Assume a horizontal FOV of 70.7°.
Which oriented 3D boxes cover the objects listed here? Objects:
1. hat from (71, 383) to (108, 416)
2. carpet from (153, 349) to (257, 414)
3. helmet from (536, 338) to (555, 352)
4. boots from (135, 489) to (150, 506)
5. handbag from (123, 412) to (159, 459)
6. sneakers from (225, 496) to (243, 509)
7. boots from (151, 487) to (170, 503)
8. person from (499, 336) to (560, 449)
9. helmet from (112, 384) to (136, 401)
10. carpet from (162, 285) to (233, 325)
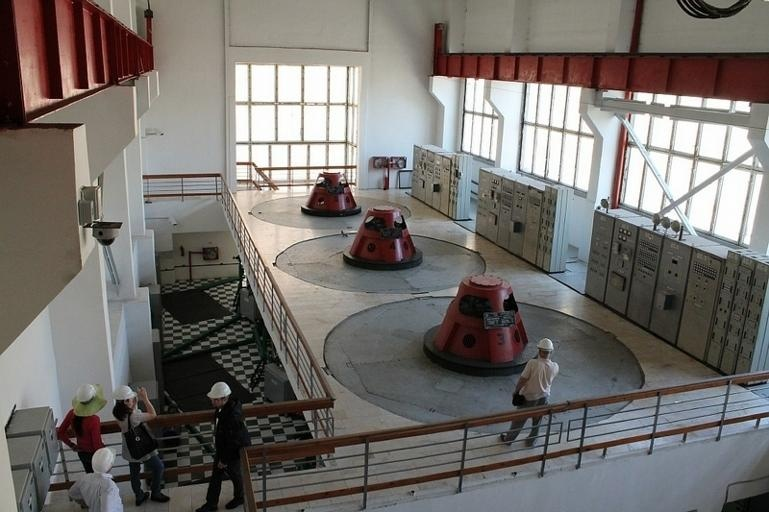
[{"bbox_3d":[-3.932,1.921,7.179,0.371,0.475,0.477,-13,18,-32],"label":"hat"},{"bbox_3d":[-5.910,3.838,16.991,2.057,0.153,3.388,-8,26,-39],"label":"carpet"},{"bbox_3d":[2.470,1.370,8.241,0.146,0.154,0.247,7,18,35],"label":"helmet"},{"bbox_3d":[-3.235,3.216,7.225,0.098,0.085,0.208,5,22,6],"label":"boots"},{"bbox_3d":[-3.183,2.343,7.032,0.349,0.601,0.142,-12,17,-28],"label":"handbag"},{"bbox_3d":[-1.996,3.290,7.288,0.246,0.168,0.093,7,21,-44],"label":"sneakers"},{"bbox_3d":[-2.969,3.212,7.245,0.267,0.108,0.129,8,14,-20],"label":"boots"},{"bbox_3d":[2.261,2.150,8.402,0.708,1.720,1.543,7,18,33],"label":"person"},{"bbox_3d":[-3.383,1.792,7.034,0.226,0.206,0.143,-11,17,-26],"label":"helmet"},{"bbox_3d":[-8.101,1.955,22.452,2.275,0.069,4.429,-9,17,-27],"label":"carpet"}]
